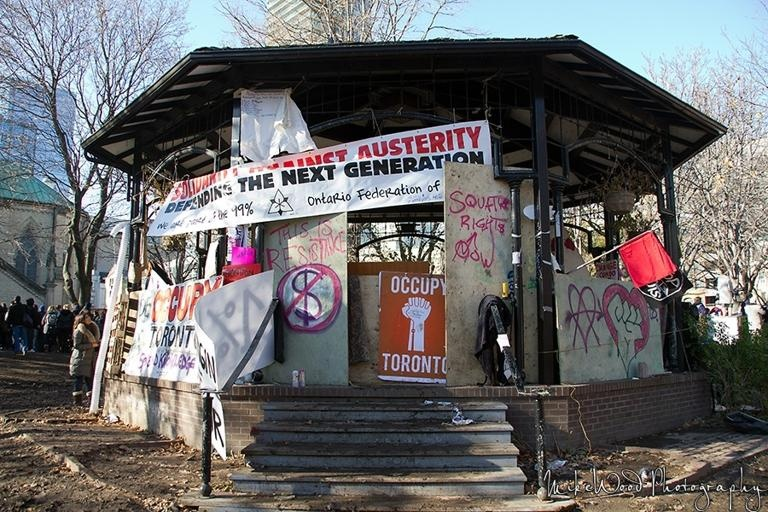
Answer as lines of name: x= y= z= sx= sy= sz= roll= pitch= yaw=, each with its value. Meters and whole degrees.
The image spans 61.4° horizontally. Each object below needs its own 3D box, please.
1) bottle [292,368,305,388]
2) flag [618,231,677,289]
bottle: x=-1.751 y=2.561 z=13.390 sx=0.272 sy=0.388 sz=0.262 roll=0 pitch=-2 yaw=0
flag: x=5.713 y=0.088 z=14.125 sx=1.129 sy=1.242 sz=0.223 roll=1 pitch=3 yaw=23
